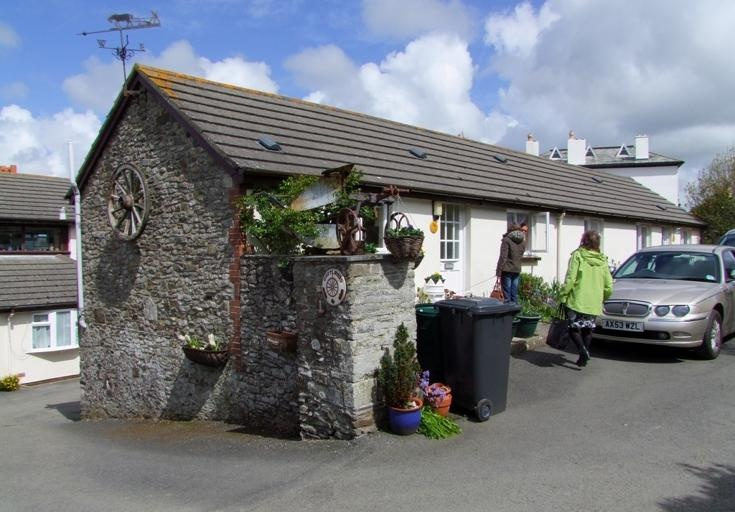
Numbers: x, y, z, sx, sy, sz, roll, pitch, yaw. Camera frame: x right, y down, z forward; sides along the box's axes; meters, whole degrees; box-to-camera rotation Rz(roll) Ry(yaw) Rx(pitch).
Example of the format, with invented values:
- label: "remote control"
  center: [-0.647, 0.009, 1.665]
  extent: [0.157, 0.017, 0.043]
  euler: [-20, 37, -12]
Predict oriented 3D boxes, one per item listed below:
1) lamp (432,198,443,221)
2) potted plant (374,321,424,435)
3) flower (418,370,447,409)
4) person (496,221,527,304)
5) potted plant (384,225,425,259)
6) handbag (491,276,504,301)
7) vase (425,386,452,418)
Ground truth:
- label: "lamp"
  center: [1.886, -1.229, 16.376]
  extent: [0.169, 0.546, 0.541]
  euler: [2, 13, 25]
- label: "potted plant"
  center: [0.543, 2.119, 10.588]
  extent: [0.775, 1.683, 0.807]
  euler: [-9, 13, -24]
- label: "flower"
  center: [1.072, 2.356, 10.841]
  extent: [0.423, 0.633, 0.587]
  euler: [3, -8, -25]
- label: "person"
  center: [3.294, 0.232, 14.295]
  extent: [0.572, 1.876, 1.374]
  euler: [2, 13, 23]
- label: "potted plant"
  center: [0.661, -0.247, 10.911]
  extent: [0.556, 0.431, 0.591]
  euler: [1, 0, 6]
- label: "handbag"
  center: [2.985, 0.749, 14.119]
  extent: [0.294, 0.703, 0.231]
  euler: [13, 22, 42]
- label: "vase"
  center: [1.250, 2.482, 10.652]
  extent: [0.461, 0.572, 0.487]
  euler: [0, -7, -3]
